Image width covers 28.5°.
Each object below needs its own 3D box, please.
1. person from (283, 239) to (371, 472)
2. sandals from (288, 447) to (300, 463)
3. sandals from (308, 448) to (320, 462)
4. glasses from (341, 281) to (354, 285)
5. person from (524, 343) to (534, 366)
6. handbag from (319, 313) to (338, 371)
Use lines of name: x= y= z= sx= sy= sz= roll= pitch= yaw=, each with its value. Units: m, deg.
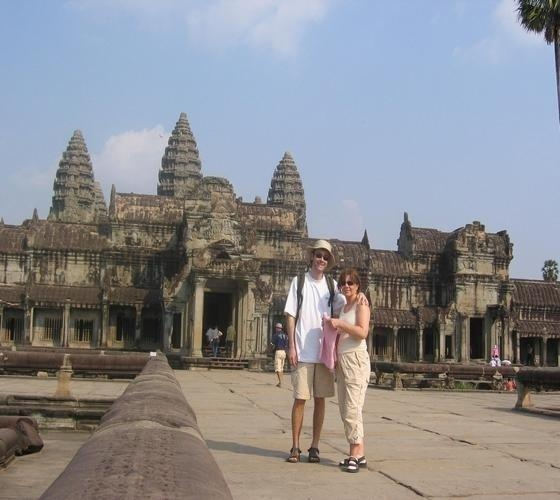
person: x=0.472 y=1.416 z=15.719 sx=0.800 sy=3.123 sz=0.468 roll=1 pitch=-6 yaw=3
sandals: x=0.191 y=2.850 z=15.483 sx=0.176 sy=0.207 sz=0.282 roll=1 pitch=-7 yaw=1
sandals: x=0.485 y=2.856 z=15.495 sx=0.183 sy=0.207 sz=0.138 roll=3 pitch=-7 yaw=-12
glasses: x=0.955 y=0.468 z=15.681 sx=0.170 sy=0.061 sz=0.062 roll=1 pitch=-7 yaw=3
person: x=11.462 y=4.747 z=50.783 sx=0.352 sy=0.993 sz=0.690 roll=-1 pitch=-7 yaw=14
handbag: x=0.695 y=1.306 z=15.565 sx=0.242 sy=0.756 sz=0.325 roll=1 pitch=-6 yaw=2
